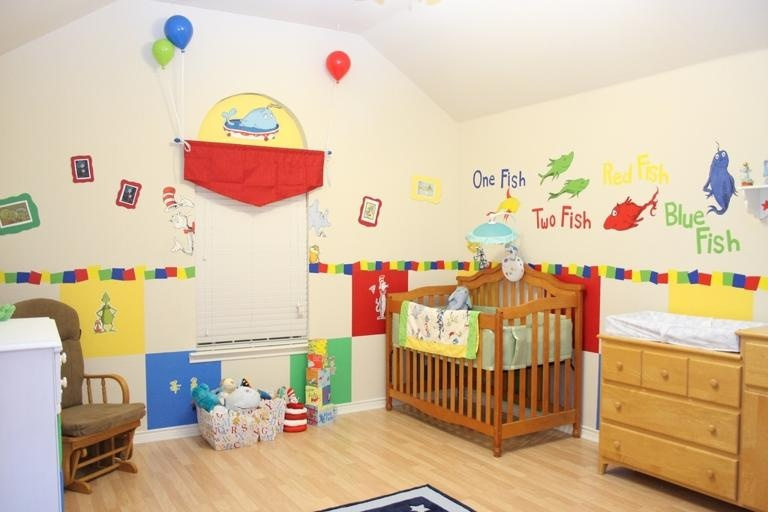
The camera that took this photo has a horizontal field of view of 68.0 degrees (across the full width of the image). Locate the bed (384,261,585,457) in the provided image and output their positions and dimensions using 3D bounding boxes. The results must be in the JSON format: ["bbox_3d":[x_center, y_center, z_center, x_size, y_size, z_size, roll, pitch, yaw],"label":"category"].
[{"bbox_3d":[0.914,0.870,5.358,1.030,1.493,1.699,-9,13,-40],"label":"bed"}]

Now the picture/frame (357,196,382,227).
[{"bbox_3d":[-0.168,-0.455,5.767,0.266,0.338,0.024,13,-2,-33],"label":"picture/frame"}]

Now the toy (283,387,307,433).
[{"bbox_3d":[-0.826,1.414,5.247,0.201,0.339,0.194,0,10,1],"label":"toy"}]

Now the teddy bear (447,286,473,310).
[{"bbox_3d":[0.728,0.444,5.614,0.181,0.269,0.222,15,-13,-22],"label":"teddy bear"}]

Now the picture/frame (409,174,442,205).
[{"bbox_3d":[0.412,-0.705,6.022,0.337,0.259,0.015,4,-1,-32],"label":"picture/frame"}]

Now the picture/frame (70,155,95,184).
[{"bbox_3d":[-2.553,-0.727,4.778,0.238,0.307,0.021,-3,1,-26],"label":"picture/frame"}]

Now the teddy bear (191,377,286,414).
[{"bbox_3d":[-1.331,1.235,5.043,0.356,0.160,0.469,1,0,-30],"label":"teddy bear"}]

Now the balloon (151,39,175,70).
[{"bbox_3d":[-1.892,-1.716,4.858,0.227,0.282,0.223,-11,22,-31],"label":"balloon"}]

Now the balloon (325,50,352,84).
[{"bbox_3d":[-0.453,-1.822,5.527,0.252,0.324,0.231,-2,-6,-8],"label":"balloon"}]

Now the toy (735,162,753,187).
[{"bbox_3d":[2.631,-0.593,4.139,0.104,0.176,0.246,6,12,31],"label":"toy"}]

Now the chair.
[{"bbox_3d":[-2.372,1.054,4.377,0.834,1.300,0.790,5,0,27],"label":"chair"}]

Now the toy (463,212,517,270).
[{"bbox_3d":[1.007,-0.128,5.362,0.565,0.533,0.561,0,2,9],"label":"toy"}]

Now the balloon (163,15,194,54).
[{"bbox_3d":[-1.779,-1.923,4.905,0.242,0.297,0.206,-4,11,-20],"label":"balloon"}]
